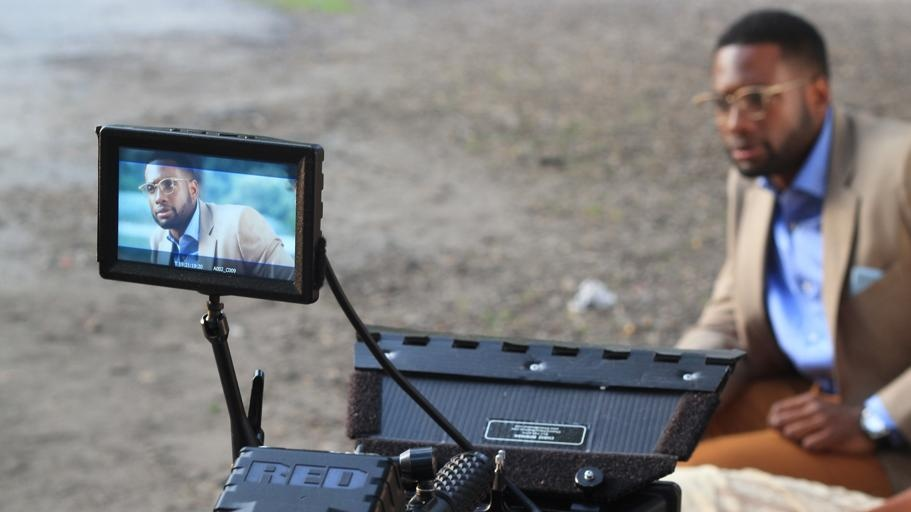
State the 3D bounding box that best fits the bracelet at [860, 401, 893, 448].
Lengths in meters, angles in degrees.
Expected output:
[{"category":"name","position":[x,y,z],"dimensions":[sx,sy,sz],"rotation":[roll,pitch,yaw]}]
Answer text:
[{"category":"bracelet","position":[2.426,0.967,7.922],"dimensions":[0.194,0.234,0.109],"rotation":[-8,-2,-27]}]
